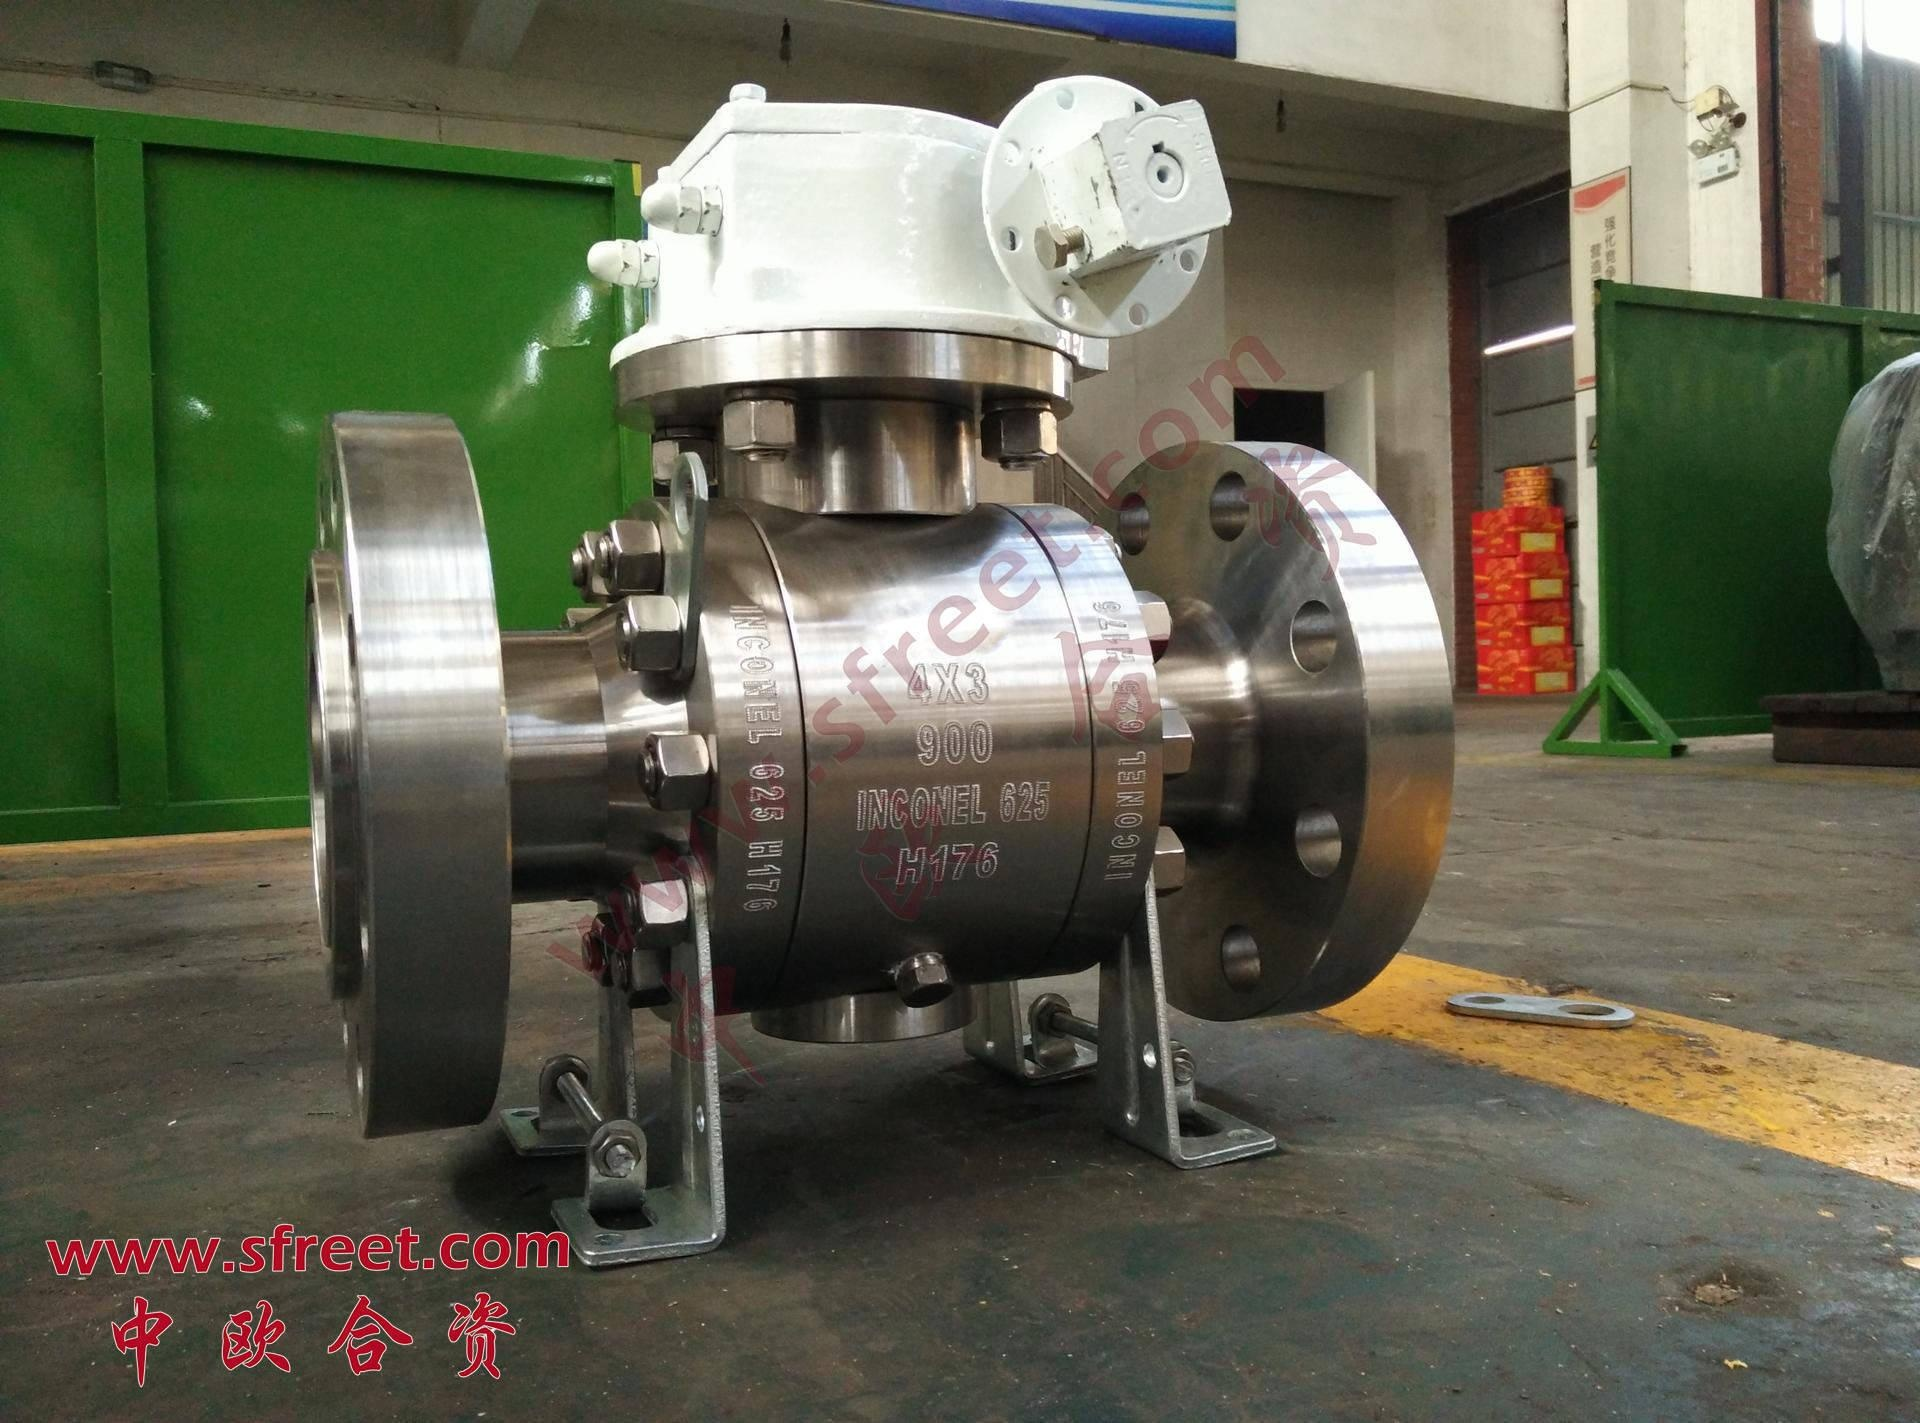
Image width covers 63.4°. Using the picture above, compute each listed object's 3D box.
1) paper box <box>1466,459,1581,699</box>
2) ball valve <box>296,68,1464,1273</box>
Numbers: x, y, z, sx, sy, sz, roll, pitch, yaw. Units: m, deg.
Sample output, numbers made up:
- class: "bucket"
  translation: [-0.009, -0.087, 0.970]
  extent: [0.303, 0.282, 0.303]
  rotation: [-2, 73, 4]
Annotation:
- class: "paper box"
  translation: [4.723, -1.075, 12.907]
  extent: [0.677, 1.839, 0.739]
  rotation: [-2, 2, -10]
- class: "ball valve"
  translation: [-0.090, -0.087, 1.894]
  extent: [1.201, 1.187, 0.711]
  rotation: [-3, 5, -23]
